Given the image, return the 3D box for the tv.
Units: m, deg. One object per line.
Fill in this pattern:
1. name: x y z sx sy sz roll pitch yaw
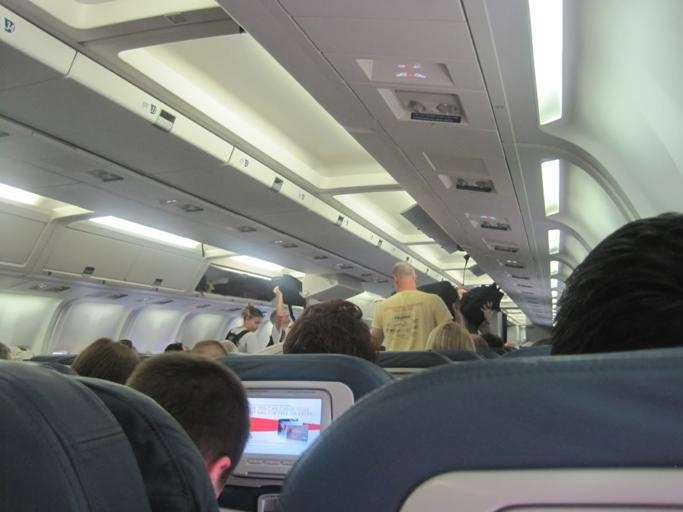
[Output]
1. tv: -0.246 0.707 1.934 0.446 0.310 0.045 -4 -12 17
